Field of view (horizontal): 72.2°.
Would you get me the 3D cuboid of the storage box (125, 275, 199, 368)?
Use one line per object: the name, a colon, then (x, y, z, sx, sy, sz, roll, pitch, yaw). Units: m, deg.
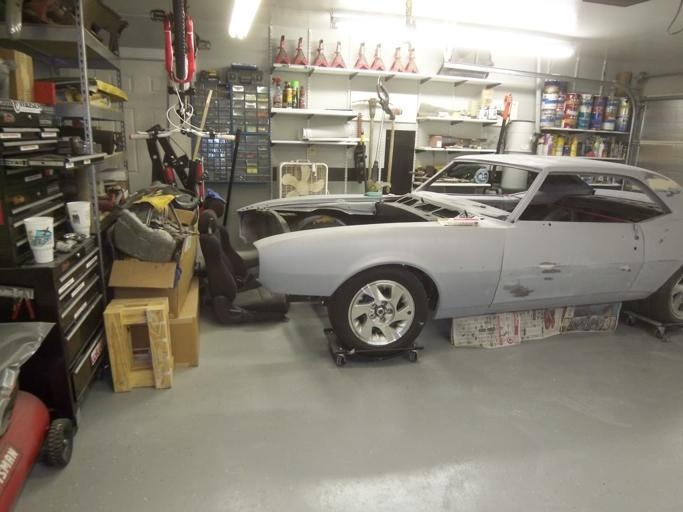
storage box: (-1.278, 0.370, 3.454, 0.362, 0.399, 1.158, -1, 27, -12)

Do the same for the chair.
chair: (-0.838, -0.067, 4.486, 0.962, 1.224, 0.872, -4, 21, -16)

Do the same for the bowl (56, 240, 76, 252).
bowl: (-1.688, -0.059, 2.861, 0.086, 0.022, 0.089, 7, 26, -3)

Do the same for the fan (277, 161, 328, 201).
fan: (-0.503, -0.895, 6.286, 0.644, 0.640, 0.453, -4, -24, -4)

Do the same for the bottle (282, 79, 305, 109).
bottle: (-0.627, -2.116, 6.137, 0.320, 0.323, 0.233, -8, 18, -32)

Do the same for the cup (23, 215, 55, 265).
cup: (-1.670, -0.091, 2.618, 0.124, 0.249, 0.122, 2, 16, 0)
